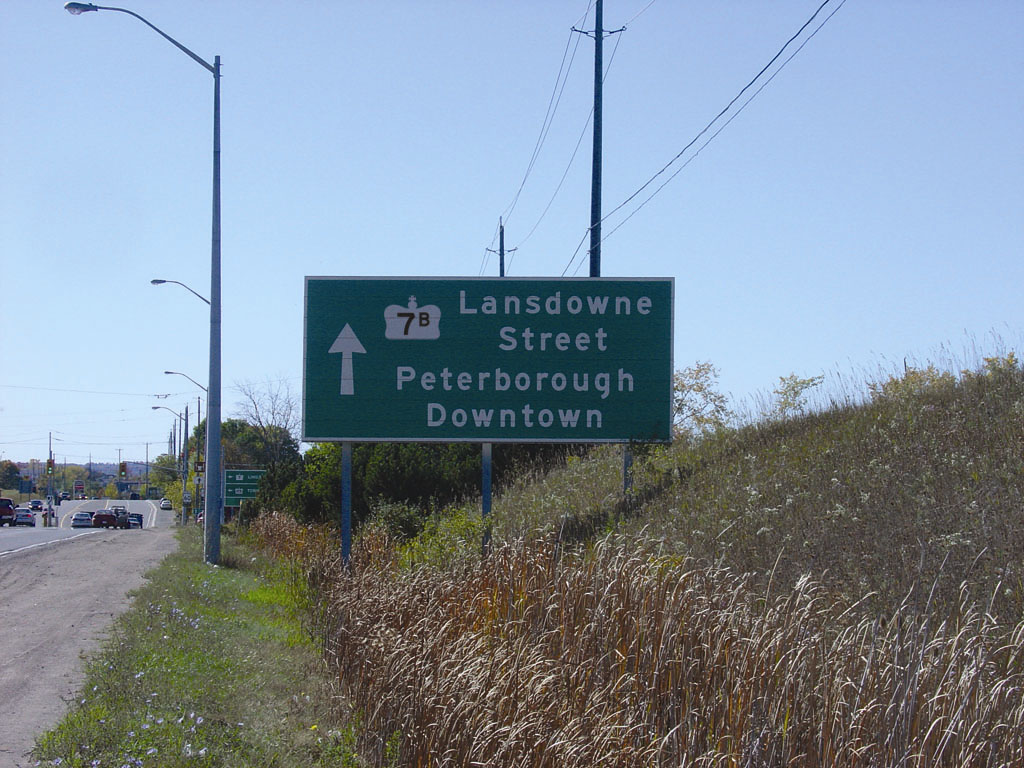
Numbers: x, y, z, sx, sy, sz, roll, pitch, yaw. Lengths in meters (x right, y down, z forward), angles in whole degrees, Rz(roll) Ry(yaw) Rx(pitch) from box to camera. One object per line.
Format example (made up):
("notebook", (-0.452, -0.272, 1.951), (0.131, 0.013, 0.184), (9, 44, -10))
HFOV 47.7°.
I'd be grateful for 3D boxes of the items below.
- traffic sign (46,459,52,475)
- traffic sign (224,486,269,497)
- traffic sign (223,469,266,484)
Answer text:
("traffic sign", (-36.752, 6.436, 91.745), (0.464, 1.166, 2.457), (-4, 0, -24))
("traffic sign", (-10.400, 4.059, 44.035), (1.183, 0.415, 0.684), (-6, 1, -10))
("traffic sign", (-10.290, 3.502, 44.218), (1.372, 0.497, 0.599), (-6, 2, -17))
